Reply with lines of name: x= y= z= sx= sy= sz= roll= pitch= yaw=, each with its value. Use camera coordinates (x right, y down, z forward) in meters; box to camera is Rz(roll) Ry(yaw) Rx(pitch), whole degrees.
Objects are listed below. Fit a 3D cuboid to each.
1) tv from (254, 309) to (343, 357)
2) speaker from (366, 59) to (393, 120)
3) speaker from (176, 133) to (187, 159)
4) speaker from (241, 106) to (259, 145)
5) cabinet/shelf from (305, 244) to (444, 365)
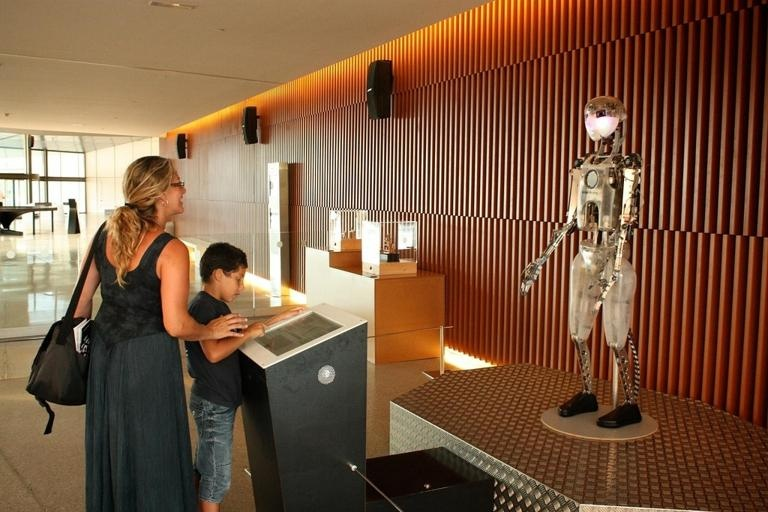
tv: x=-0.446 y=0.392 z=2.763 sx=0.322 sy=0.128 sz=0.391 roll=-9 pitch=14 yaw=-33
speaker: x=-0.056 y=-2.172 z=7.095 sx=0.328 sy=0.720 sz=0.178 roll=-2 pitch=11 yaw=-1
speaker: x=-5.302 y=-2.892 z=14.254 sx=0.239 sy=0.593 sz=0.611 roll=-2 pitch=9 yaw=-24
speaker: x=-2.559 y=-2.523 z=10.499 sx=0.321 sy=0.689 sz=0.334 roll=-1 pitch=11 yaw=3
cabinet/shelf: x=0.058 y=0.566 z=6.553 sx=1.043 sy=1.021 sz=2.637 roll=-8 pitch=13 yaw=-29
